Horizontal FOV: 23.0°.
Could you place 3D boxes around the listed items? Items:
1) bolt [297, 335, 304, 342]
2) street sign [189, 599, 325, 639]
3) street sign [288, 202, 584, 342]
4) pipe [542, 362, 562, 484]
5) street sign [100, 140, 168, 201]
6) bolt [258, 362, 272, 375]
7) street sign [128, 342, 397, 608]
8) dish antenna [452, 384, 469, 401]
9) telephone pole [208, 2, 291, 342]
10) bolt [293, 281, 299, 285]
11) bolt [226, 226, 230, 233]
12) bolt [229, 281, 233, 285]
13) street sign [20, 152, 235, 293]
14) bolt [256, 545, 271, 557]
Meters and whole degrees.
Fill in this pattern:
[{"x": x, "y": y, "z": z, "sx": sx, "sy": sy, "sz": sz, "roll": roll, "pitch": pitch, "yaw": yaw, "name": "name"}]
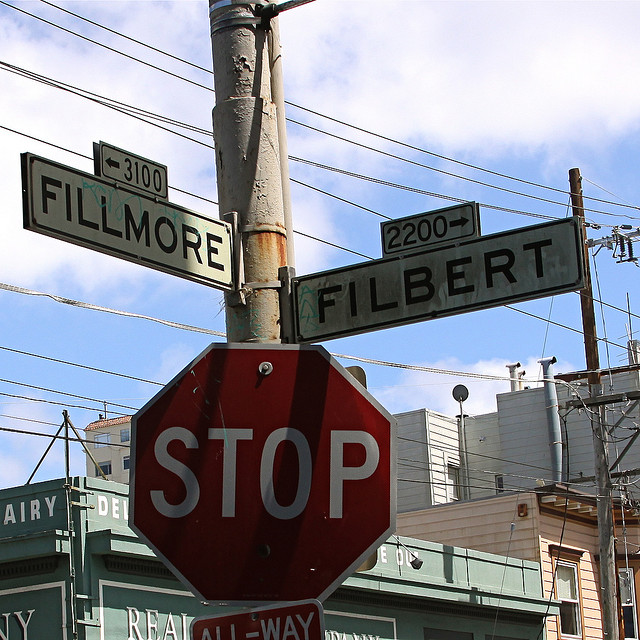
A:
[{"x": -0.145, "y": 0.128, "z": 11.979, "sx": 0.057, "sy": 0.053, "sz": 0.014, "roll": 4, "pitch": -13, "yaw": -26, "name": "bolt"}, {"x": -0.397, "y": 1.978, "z": 10.242, "sx": 0.821, "sy": 0.249, "sz": 0.065, "roll": -5, "pitch": -12, "yaw": 4, "name": "street sign"}, {"x": 0.891, "y": -0.318, "z": 11.965, "sx": 2.247, "sy": 0.803, "sz": 0.299, "roll": -5, "pitch": -12, "yaw": 5, "name": "street sign"}, {"x": 5.967, "y": 2.824, "z": 40.274, "sx": 0.350, "sy": 3.922, "sz": 0.527, "roll": 3, "pitch": -12, "yaw": -16, "name": "pipe"}, {"x": -1.412, "y": -1.137, "z": 11.919, "sx": 0.591, "sy": 0.024, "sz": 0.395, "roll": 20, "pitch": -43, "yaw": 13, "name": "street sign"}, {"x": -0.363, "y": 0.316, "z": 10.562, "sx": 0.071, "sy": 0.085, "sz": 0.019, "roll": -1, "pitch": -6, "yaw": -4, "name": "bolt"}, {"x": -0.368, "y": 1.019, "z": 10.395, "sx": 1.537, "sy": 1.799, "sz": 0.139, "roll": 3, "pitch": -11, "yaw": -7, "name": "street sign"}, {"x": 3.817, "y": 1.974, "z": 42.516, "sx": 0.372, "sy": 0.582, "sz": 1.280, "roll": -3, "pitch": -14, "yaw": 4, "name": "dish antenna"}, {"x": -0.533, "y": -1.147, "z": 11.869, "sx": 0.529, "sy": 2.681, "sz": 0.240, "roll": -1, "pitch": -12, "yaw": -6, "name": "telephone pole"}, {"x": -0.180, "y": -0.295, "z": 11.920, "sx": 0.032, "sy": 0.009, "sz": 0.038, "roll": -5, "pitch": -55, "yaw": -1, "name": "bolt"}, {"x": -0.686, "y": -0.693, "z": 11.772, "sx": 0.027, "sy": 0.048, "sz": 0.013, "roll": 0, "pitch": -4, "yaw": -3, "name": "bolt"}, {"x": -0.659, "y": -0.289, "z": 11.712, "sx": 0.018, "sy": 0.022, "sz": 0.019, "roll": 0, "pitch": -9, "yaw": -16, "name": "bolt"}, {"x": -1.395, "y": -0.709, "z": 11.672, "sx": 1.864, "sy": 0.641, "sz": 0.083, "roll": 17, "pitch": -34, "yaw": -38, "name": "street sign"}, {"x": -0.365, "y": 1.519, "z": 10.362, "sx": 0.064, "sy": 0.077, "sz": 0.016, "roll": -7, "pitch": -2, "yaw": -6, "name": "bolt"}]
